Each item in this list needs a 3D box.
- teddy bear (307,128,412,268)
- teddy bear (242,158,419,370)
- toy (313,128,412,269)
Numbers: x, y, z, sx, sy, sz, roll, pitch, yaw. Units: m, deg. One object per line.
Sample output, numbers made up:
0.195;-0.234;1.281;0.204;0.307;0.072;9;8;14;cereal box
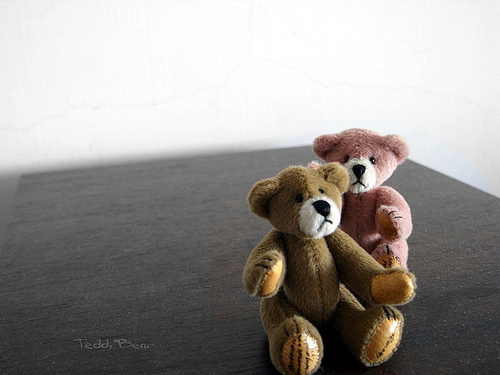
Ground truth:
0.341;0.007;1.537;0.364;0.509;0.363;-2;9;10;teddy bear
0.162;0.190;1.372;0.500;0.561;0.466;-6;16;-15;teddy bear
0.350;0.015;1.525;0.326;0.468;0.345;-4;10;6;toy
